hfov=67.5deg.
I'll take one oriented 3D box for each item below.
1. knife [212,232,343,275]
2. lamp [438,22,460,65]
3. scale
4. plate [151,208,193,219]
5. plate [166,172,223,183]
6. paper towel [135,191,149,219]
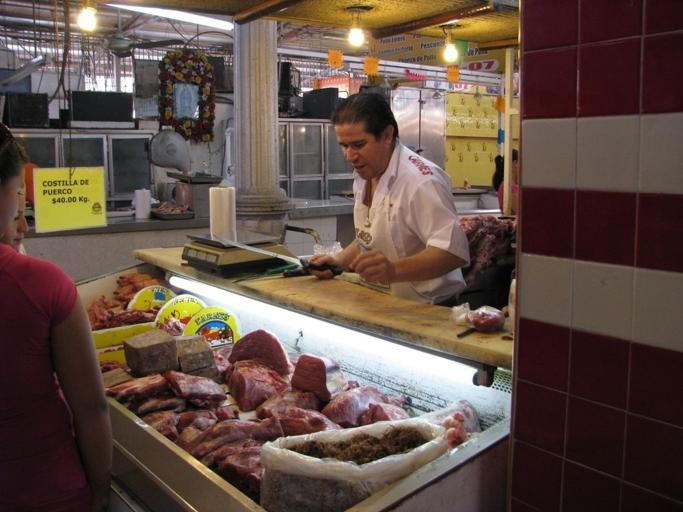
[{"bbox_3d":[-0.384,-0.014,3.026,0.625,0.079,0.156,18,10,0],"label":"knife"},{"bbox_3d":[1.190,-2.303,5.568,0.270,0.441,0.284,-3,-4,18],"label":"lamp"},{"bbox_3d":[-0.603,-0.024,2.887,0.535,0.174,0.568,-5,10,-26],"label":"scale"},{"bbox_3d":[-1.862,-0.454,5.550,0.514,0.108,0.365,7,13,42],"label":"plate"},{"bbox_3d":[-1.624,-0.854,5.691,0.417,0.140,0.845,-6,10,-24],"label":"plate"},{"bbox_3d":[-2.116,-0.544,5.418,0.138,0.306,0.291,-6,10,-28],"label":"paper towel"}]
